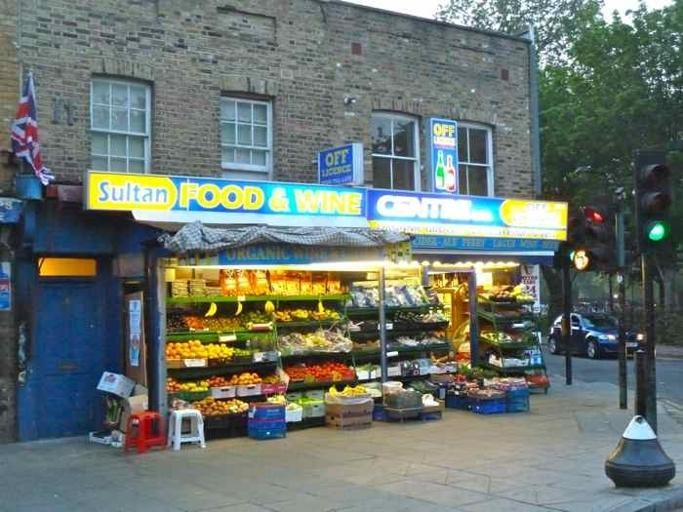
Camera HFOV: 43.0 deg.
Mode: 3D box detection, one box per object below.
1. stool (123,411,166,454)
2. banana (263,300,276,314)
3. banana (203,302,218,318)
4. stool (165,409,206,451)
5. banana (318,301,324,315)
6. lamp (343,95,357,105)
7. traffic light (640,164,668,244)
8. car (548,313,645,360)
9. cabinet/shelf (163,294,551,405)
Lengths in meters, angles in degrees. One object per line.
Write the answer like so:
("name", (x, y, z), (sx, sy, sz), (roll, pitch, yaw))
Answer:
("stool", (-3.484, 3.109, 15.371), (0.716, 0.668, 0.561), (-4, 5, -42))
("banana", (-1.462, 1.050, 17.728), (0.227, 0.260, 0.211), (-16, 2, -31))
("banana", (-2.578, 1.081, 17.232), (0.171, 0.308, 0.083), (26, -5, 13))
("stool", (-2.805, 3.092, 15.576), (0.643, 0.662, 0.661), (-2, 4, -19))
("banana", (-0.425, 1.093, 18.315), (0.182, 0.198, 0.224), (-2, 36, -2))
("lamp", (0.210, -3.533, 19.568), (0.265, 0.184, 0.238), (-5, 14, -23))
("traffic light", (5.158, -0.855, 14.219), (0.463, 1.333, 0.357), (0, 4, 18))
("car", (9.019, 3.032, 30.920), (2.137, 1.867, 4.801), (0, -2, -8))
("cabinet/shelf", (-0.229, 1.893, 17.944), (8.939, 2.467, 3.997), (4, -2, -27))
